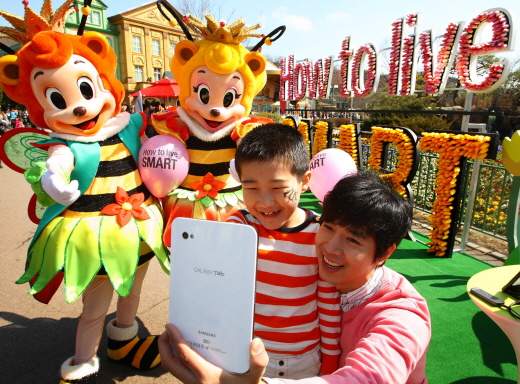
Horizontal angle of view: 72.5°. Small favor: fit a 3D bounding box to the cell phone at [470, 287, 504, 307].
[{"bbox_3d":[1.674,0.763,2.593,0.086,0.030,0.165,-8,20,-25],"label":"cell phone"}]
